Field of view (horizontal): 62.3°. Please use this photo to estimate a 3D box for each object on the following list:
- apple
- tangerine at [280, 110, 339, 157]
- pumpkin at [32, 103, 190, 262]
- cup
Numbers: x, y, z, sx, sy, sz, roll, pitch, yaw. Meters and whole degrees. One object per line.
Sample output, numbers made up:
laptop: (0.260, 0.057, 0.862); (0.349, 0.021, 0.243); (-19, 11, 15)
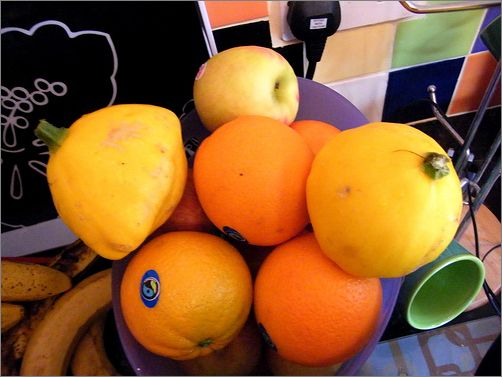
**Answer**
apple: (-0.002, -0.158, 0.713); (0.157, 0.140, 0.144); (8, 51, 18)
tangerine: (0.098, -0.086, 0.667); (0.088, 0.047, 0.088); (8, 2, -23)
pumpkin: (-0.173, -0.019, 0.577); (0.156, 0.142, 0.199); (32, 58, 30)
cup: (0.301, 0.145, 0.674); (0.120, 0.088, 0.115); (23, 43, -23)
